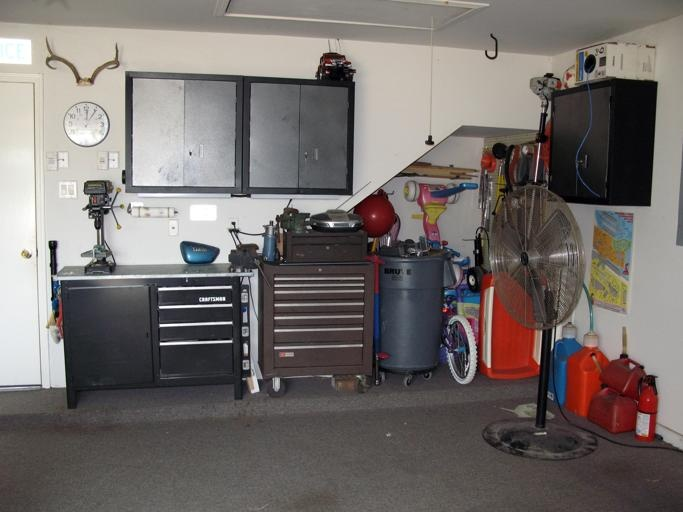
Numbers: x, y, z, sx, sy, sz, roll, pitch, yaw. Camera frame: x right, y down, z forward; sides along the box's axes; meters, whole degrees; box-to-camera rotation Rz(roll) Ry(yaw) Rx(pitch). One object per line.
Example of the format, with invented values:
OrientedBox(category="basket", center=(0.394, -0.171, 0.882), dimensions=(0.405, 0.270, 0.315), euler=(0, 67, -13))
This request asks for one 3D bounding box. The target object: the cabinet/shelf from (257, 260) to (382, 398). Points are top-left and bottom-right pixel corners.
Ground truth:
OrientedBox(category="cabinet/shelf", center=(-0.180, 0.728, 5.433), dimensions=(0.932, 1.128, 0.646), euler=(-2, -27, 3))

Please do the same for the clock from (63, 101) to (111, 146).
OrientedBox(category="clock", center=(-2.184, -1.135, 5.277), dimensions=(0.336, 0.369, 0.049), euler=(-4, 2, -8))

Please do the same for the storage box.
OrientedBox(category="storage box", center=(2.158, -1.517, 4.969), dimensions=(0.412, 0.277, 0.441), euler=(0, 9, -12))

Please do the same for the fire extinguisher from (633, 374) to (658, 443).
OrientedBox(category="fire extinguisher", center=(2.326, 1.134, 4.722), dimensions=(0.260, 0.481, 0.139), euler=(-6, 9, -28))

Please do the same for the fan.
OrientedBox(category="fan", center=(1.369, 0.477, 4.378), dimensions=(0.762, 1.950, 0.865), euler=(0, 8, 13))

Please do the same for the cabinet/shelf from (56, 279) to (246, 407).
OrientedBox(category="cabinet/shelf", center=(-1.538, 0.658, 5.023), dimensions=(0.976, 0.729, 0.354), euler=(-1, 1, -10))

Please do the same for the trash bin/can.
OrientedBox(category="trash bin/can", center=(0.593, 0.477, 6.179), dimensions=(0.919, 1.539, 0.946), euler=(0, 3, 10))

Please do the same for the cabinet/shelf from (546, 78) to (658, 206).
OrientedBox(category="cabinet/shelf", center=(2.043, -0.886, 4.921), dimensions=(0.789, 0.960, 0.410), euler=(2, 9, 27))

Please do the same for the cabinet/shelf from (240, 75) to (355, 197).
OrientedBox(category="cabinet/shelf", center=(-0.406, -1.046, 5.499), dimensions=(0.990, 0.992, 0.351), euler=(-1, 8, -16))
